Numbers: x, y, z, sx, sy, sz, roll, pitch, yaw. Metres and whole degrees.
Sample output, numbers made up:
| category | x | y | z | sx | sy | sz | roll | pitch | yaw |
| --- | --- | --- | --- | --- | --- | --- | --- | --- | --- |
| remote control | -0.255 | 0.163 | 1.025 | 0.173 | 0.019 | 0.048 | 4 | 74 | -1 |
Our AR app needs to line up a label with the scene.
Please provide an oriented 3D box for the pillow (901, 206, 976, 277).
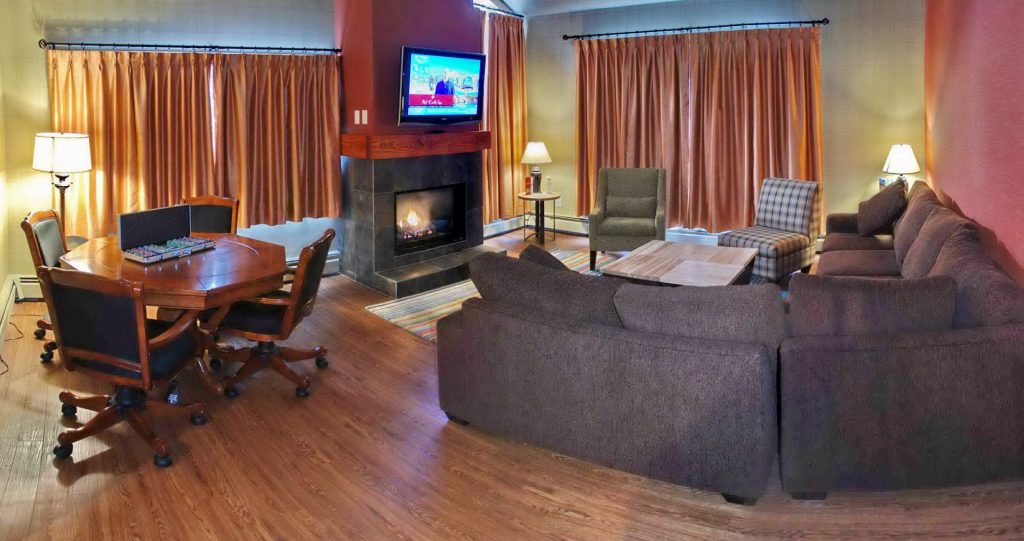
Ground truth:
| category | x | y | z | sx | sy | sz | roll | pitch | yaw |
| --- | --- | --- | --- | --- | --- | --- | --- | --- | --- |
| pillow | 3.733 | -0.278 | 6.002 | 0.226 | 0.664 | 0.706 | 24 | -18 | 13 |

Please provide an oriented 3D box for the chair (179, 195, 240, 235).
| category | x | y | z | sx | sy | sz | roll | pitch | yaw |
| --- | --- | --- | --- | --- | --- | --- | --- | --- | --- |
| chair | -3.151 | -0.585 | 7.118 | 0.495 | 0.377 | 0.492 | -2 | 11 | -13 |

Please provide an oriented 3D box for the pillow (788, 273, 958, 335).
| category | x | y | z | sx | sy | sz | roll | pitch | yaw |
| --- | --- | --- | --- | --- | --- | --- | --- | --- | --- |
| pillow | 2.693 | 0.255 | 5.002 | 0.750 | 0.275 | 0.654 | 0 | 2 | 20 |

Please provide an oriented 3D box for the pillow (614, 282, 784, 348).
| category | x | y | z | sx | sy | sz | roll | pitch | yaw |
| --- | --- | --- | --- | --- | --- | --- | --- | --- | --- |
| pillow | 1.381 | 0.304 | 5.055 | 1.257 | 0.428 | 0.187 | 2 | 11 | 12 |

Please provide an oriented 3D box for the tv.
| category | x | y | z | sx | sy | sz | roll | pitch | yaw |
| --- | --- | --- | --- | --- | --- | --- | --- | --- | --- |
| tv | -0.873 | -2.315 | 8.560 | 0.128 | 0.913 | 1.341 | 11 | 15 | 43 |

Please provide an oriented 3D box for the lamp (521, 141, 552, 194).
| category | x | y | z | sx | sy | sz | roll | pitch | yaw |
| --- | --- | --- | --- | --- | --- | --- | --- | --- | --- |
| lamp | 0.359 | -1.512 | 10.049 | 0.530 | 0.719 | 0.486 | -2 | 9 | -13 |

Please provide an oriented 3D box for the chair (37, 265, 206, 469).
| category | x | y | z | sx | sy | sz | roll | pitch | yaw |
| --- | --- | --- | --- | --- | --- | --- | --- | --- | --- |
| chair | -3.232 | 0.700 | 5.698 | 1.338 | 1.459 | 1.291 | 13 | 11 | 14 |

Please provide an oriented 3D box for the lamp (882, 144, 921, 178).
| category | x | y | z | sx | sy | sz | roll | pitch | yaw |
| --- | --- | --- | --- | --- | --- | --- | --- | --- | --- |
| lamp | 4.769 | -1.374 | 8.335 | 0.277 | 0.343 | 0.299 | -3 | 11 | -18 |

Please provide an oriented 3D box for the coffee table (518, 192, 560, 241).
| category | x | y | z | sx | sy | sz | roll | pitch | yaw |
| --- | --- | --- | --- | --- | --- | --- | --- | --- | --- |
| coffee table | 0.413 | -0.814 | 10.424 | 0.586 | 0.571 | 0.559 | -4 | 5 | 21 |

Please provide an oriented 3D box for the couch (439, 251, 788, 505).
| category | x | y | z | sx | sy | sz | roll | pitch | yaw |
| --- | --- | --- | --- | --- | --- | --- | --- | --- | --- |
| couch | 1.157 | 0.663 | 5.777 | 2.800 | 1.495 | 1.881 | 6 | 19 | 28 |

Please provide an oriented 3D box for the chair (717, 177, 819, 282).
| category | x | y | z | sx | sy | sz | roll | pitch | yaw |
| --- | --- | --- | --- | --- | --- | --- | --- | --- | --- |
| chair | 3.138 | -0.478 | 8.356 | 1.087 | 1.056 | 0.836 | -23 | 28 | -39 |

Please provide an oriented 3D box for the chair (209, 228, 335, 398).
| category | x | y | z | sx | sy | sz | roll | pitch | yaw |
| --- | --- | --- | --- | --- | --- | --- | --- | --- | --- |
| chair | -2.302 | 0.320 | 6.394 | 1.137 | 1.430 | 1.141 | 4 | 18 | -6 |
